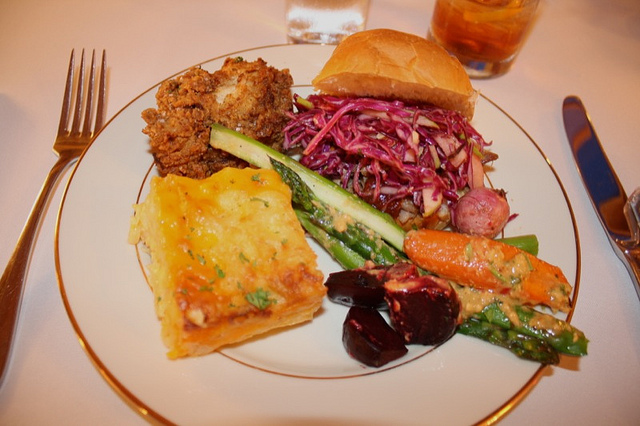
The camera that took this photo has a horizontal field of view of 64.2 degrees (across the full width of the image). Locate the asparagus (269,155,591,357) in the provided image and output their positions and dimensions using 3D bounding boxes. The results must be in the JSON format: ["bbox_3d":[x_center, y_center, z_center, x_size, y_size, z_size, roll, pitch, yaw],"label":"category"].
[{"bbox_3d":[0.940,0.430,4.503,2.922,0.304,0.313,29,56,14],"label":"asparagus"}]

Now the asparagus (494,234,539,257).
[{"bbox_3d":[1.832,0.356,4.705,0.421,0.201,0.170,-14,36,-22],"label":"asparagus"}]
